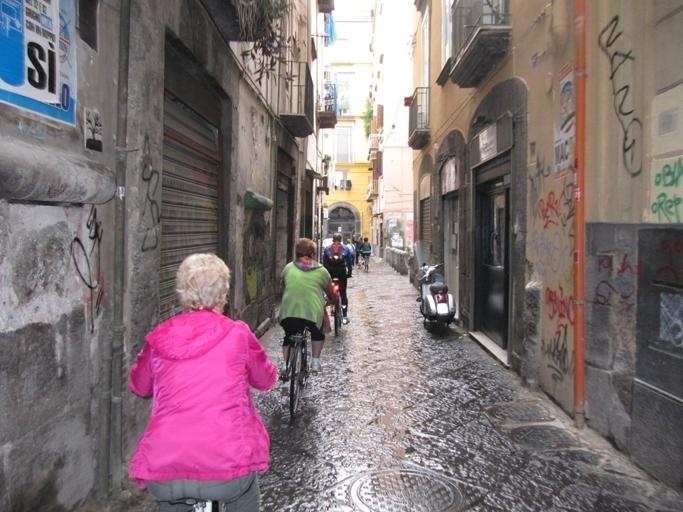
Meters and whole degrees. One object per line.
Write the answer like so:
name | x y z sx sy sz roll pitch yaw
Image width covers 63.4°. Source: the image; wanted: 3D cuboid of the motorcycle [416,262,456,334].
motorcycle | 1.764 0.743 10.555 0.528 1.251 1.816 -2 7 -2

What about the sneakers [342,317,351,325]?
sneakers | 0.090 1.220 10.358 0.145 0.207 0.104 -1 -1 21

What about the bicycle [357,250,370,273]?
bicycle | 1.049 0.177 25.897 0.394 0.744 1.046 1 1 -2

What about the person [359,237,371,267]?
person | 1.100 -0.139 25.709 0.483 0.872 1.188 -1 3 -1

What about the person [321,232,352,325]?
person | -0.047 0.242 10.941 0.558 1.006 1.358 0 6 4

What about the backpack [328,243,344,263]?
backpack | -0.107 -0.077 10.707 0.291 0.311 0.530 -1 36 2

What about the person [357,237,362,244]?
person | 0.893 -0.699 25.983 0.198 0.411 0.778 -2 3 -1
